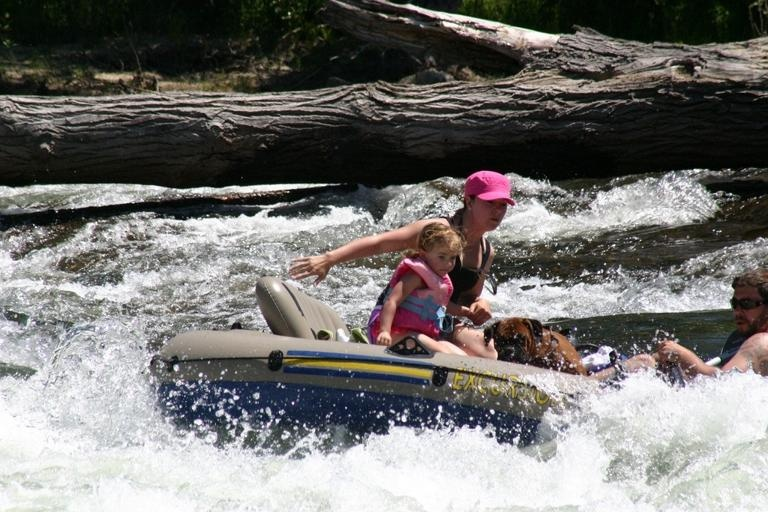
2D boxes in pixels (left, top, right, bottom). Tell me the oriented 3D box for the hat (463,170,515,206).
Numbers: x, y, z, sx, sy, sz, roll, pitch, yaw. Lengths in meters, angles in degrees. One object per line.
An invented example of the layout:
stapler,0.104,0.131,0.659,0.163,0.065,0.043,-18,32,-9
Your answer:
hat,1.086,-0.717,11.935,0.447,0.219,0.338,6,5,28
